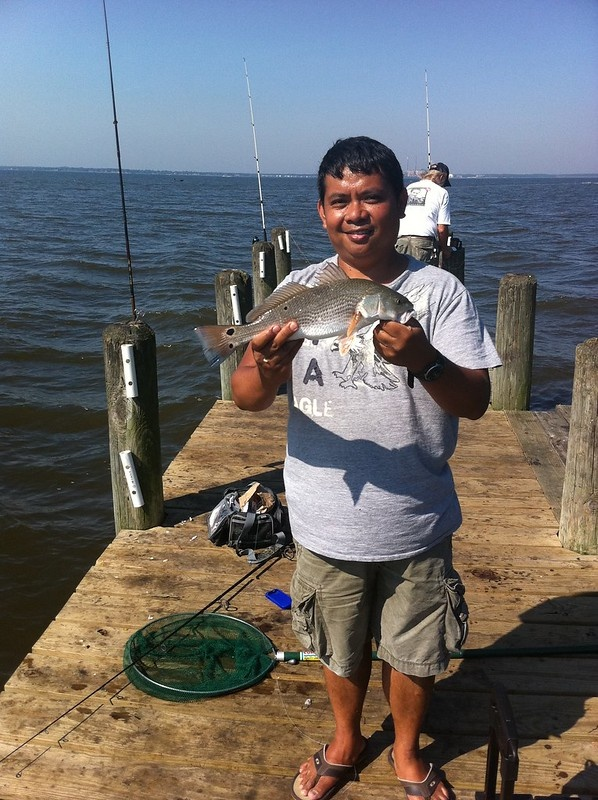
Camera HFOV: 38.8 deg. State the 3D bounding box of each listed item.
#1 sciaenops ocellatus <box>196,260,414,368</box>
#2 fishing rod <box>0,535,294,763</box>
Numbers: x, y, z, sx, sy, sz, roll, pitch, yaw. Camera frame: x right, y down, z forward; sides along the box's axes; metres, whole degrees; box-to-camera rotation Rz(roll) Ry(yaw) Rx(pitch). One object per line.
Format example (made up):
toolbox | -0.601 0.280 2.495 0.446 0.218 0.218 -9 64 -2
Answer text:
sciaenops ocellatus | 0.006 -0.234 2.642 0.680 0.277 0.281 11 20 44
fishing rod | -0.447 1.120 3.763 0.418 0.054 1.194 11 18 30
